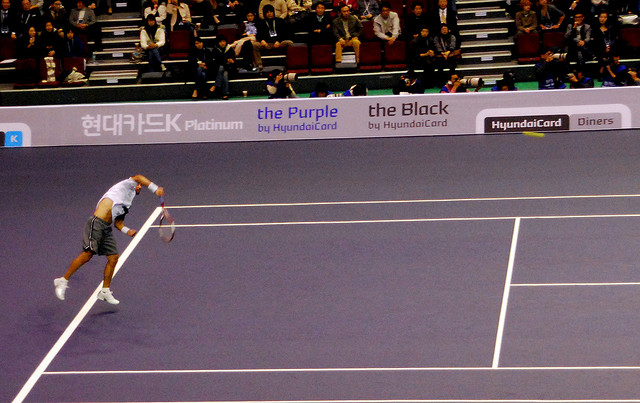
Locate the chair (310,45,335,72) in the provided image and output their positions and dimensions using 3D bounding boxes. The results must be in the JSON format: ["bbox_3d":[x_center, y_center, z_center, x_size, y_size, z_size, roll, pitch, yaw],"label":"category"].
[{"bbox_3d":[0.049,-5.195,39.047,0.901,1.079,0.870,0,13,0],"label":"chair"}]

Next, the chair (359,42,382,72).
[{"bbox_3d":[1.782,-5.213,38.283,0.829,1.089,0.965,-4,7,-9],"label":"chair"}]

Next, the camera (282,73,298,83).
[{"bbox_3d":[-1.037,-4.177,35.987,0.432,0.462,0.460,2,11,9],"label":"camera"}]

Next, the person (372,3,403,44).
[{"bbox_3d":[2.381,-6.398,38.954,0.838,1.699,0.780,-4,-10,27],"label":"person"}]

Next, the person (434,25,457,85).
[{"bbox_3d":[4.402,-5.207,37.982,0.753,1.960,1.081,0,13,6],"label":"person"}]

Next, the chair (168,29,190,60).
[{"bbox_3d":[-5.204,-5.769,39.537,0.784,1.089,0.906,1,14,1],"label":"chair"}]

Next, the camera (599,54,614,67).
[{"bbox_3d":[9.941,-4.926,37.326,0.472,0.378,1.181,2,13,14],"label":"camera"}]

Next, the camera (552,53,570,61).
[{"bbox_3d":[8.157,-4.912,36.241,0.600,0.263,0.314,-6,14,-18],"label":"camera"}]

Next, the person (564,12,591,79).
[{"bbox_3d":[9.203,-5.568,38.420,0.868,2.318,1.125,3,3,20],"label":"person"}]

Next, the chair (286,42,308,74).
[{"bbox_3d":[-0.866,-5.241,39.078,0.885,1.216,0.984,1,8,0],"label":"chair"}]

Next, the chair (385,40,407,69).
[{"bbox_3d":[2.669,-5.255,38.301,0.789,1.071,0.936,-3,10,-4],"label":"chair"}]
